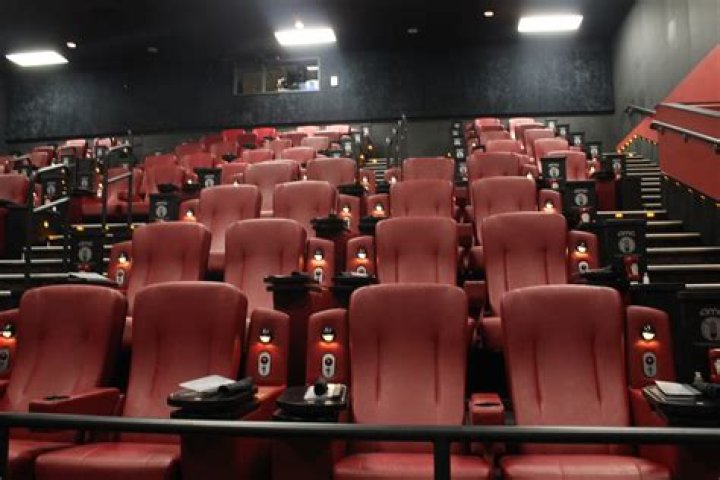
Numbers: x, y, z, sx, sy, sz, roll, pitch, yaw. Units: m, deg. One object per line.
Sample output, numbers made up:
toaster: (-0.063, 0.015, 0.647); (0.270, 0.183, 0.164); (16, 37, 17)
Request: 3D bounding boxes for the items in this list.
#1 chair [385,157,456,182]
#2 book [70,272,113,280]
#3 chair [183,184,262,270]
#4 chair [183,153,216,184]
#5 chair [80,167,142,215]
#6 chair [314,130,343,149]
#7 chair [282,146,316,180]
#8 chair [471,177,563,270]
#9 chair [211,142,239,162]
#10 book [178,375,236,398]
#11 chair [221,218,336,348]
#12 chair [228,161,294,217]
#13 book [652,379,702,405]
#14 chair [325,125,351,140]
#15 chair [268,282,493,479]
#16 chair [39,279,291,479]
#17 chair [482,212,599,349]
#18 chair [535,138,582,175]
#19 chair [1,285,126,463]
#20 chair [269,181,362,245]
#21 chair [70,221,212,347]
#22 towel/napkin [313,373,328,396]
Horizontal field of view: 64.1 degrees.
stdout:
chair: (0.750, -0.794, 6.421); (0.551, 0.335, 0.321); (2, -8, 0)
book: (-1.959, 0.255, 4.152); (0.242, 0.051, 0.180); (8, -10, -34)
chair: (-1.242, -0.116, 5.144); (0.738, 0.836, 0.716); (-1, -6, 5)
chair: (-2.523, -1.207, 8.912); (0.869, 0.276, 0.174); (-6, -11, 42)
chair: (-3.415, -0.635, 7.913); (0.625, 0.866, 0.740); (-2, -6, 7)
chair: (-0.609, -1.942, 10.883); (0.476, 0.512, 0.477); (-1, -17, 3)
chair: (-0.877, -1.027, 8.098); (0.446, 0.668, 0.531); (-2, -3, -2)
chair: (1.311, -0.094, 5.135); (0.649, 0.909, 0.790); (-2, 5, 0)
chair: (-2.236, -1.446, 9.484); (0.369, 0.447, 0.486); (1, 11, 11)
book: (-0.807, 0.763, 3.080); (0.138, 0.033, 0.199); (11, 7, 32)
chair: (-0.770, 0.275, 4.221); (0.691, 0.878, 0.780); (1, -1, -15)
chair: (-1.077, -0.609, 6.565); (0.591, 0.830, 0.678); (-1, -17, 8)
book: (1.666, 0.791, 3.024); (0.212, 0.085, 0.134); (-1, -9, 19)
chair: (-0.474, -2.342, 12.027); (0.441, 0.454, 0.450); (4, 2, 6)
chair: (0.166, 0.783, 3.673); (1.088, 1.303, 1.028); (0, -8, 6)
chair: (-1.023, 0.836, 3.779); (1.038, 1.166, 1.216); (-2, -12, 12)
chair: (1.284, 0.290, 4.784); (0.731, 1.147, 0.944); (-2, -12, 8)
chair: (2.706, -1.069, 8.143); (0.510, 0.703, 0.612); (-1, 11, 26)
chair: (-1.898, 0.840, 3.882); (0.755, 1.165, 0.931); (-1, -12, 2)
chair: (-0.520, -0.209, 5.263); (0.803, 0.765, 0.697); (0, -14, -9)
chair: (-1.499, 0.293, 4.142); (0.773, 0.965, 0.861); (2, -10, -18)
towel/napkin: (-0.217, 0.782, 3.119); (0.125, 0.072, 0.210); (0, -1, 1)
